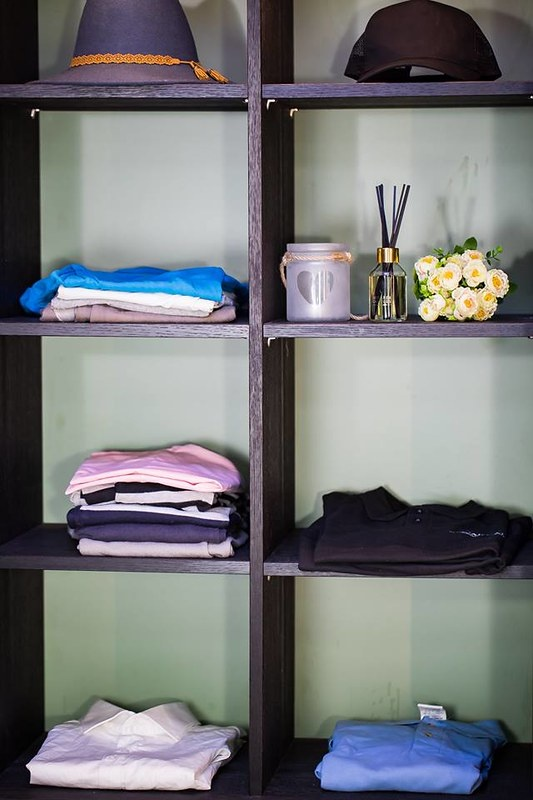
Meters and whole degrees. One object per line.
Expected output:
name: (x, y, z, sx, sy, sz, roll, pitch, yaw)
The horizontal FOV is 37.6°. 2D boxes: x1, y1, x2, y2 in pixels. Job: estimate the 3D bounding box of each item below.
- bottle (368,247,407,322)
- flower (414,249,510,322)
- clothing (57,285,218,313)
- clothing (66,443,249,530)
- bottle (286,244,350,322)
bottle: (0.254, -0.241, 1.629, 0.086, 0.143, 0.084, -2, 15, 1)
flower: (0.392, -0.236, 1.601, 0.188, 0.168, 0.191, 0, 2, 30)
clothing: (-0.259, -0.193, 1.519, 0.330, 0.067, 0.047, -1, 2, 9)
clothing: (-0.229, 0.190, 1.701, 0.369, 0.158, 0.324, -1, 2, -2)
bottle: (0.111, -0.236, 1.574, 0.160, 0.149, 0.158, -9, 12, -35)
